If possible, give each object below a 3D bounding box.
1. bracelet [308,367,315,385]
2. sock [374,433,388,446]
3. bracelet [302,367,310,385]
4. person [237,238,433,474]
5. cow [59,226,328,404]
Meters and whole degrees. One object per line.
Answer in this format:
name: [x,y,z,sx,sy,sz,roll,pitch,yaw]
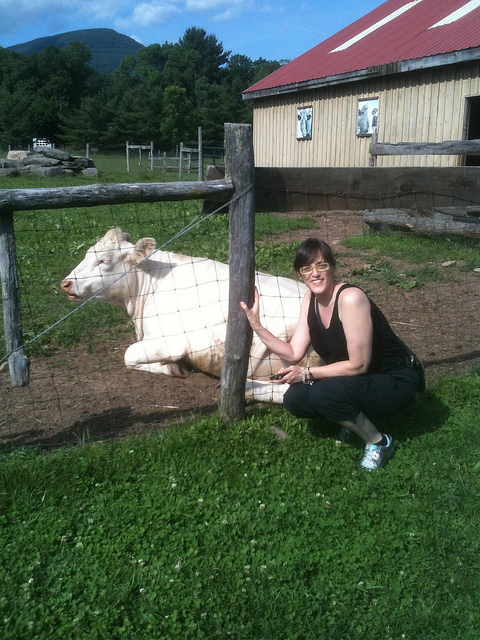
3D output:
bracelet: [0.436,0.352,3.195,0.023,0.057,0.050,-5,-2,-7]
sock: [0.841,0.716,3.106,0.047,0.043,0.088,11,20,42]
bracelet: [0.397,0.349,3.223,0.035,0.086,0.073,-5,-1,32]
person: [0.546,0.125,3.303,1.090,1.310,0.731,7,19,33]
cow: [-0.358,0.023,4.728,2.486,1.131,0.820,18,8,-3]
